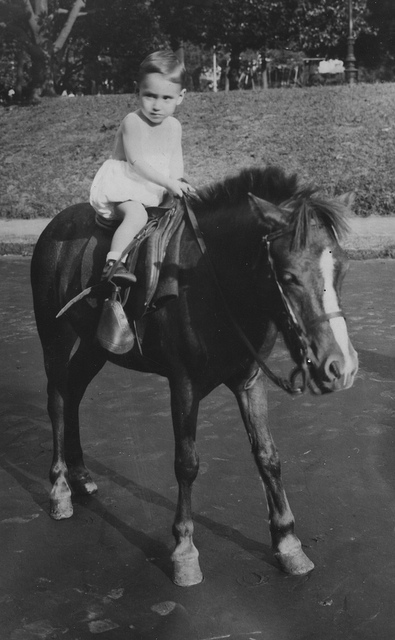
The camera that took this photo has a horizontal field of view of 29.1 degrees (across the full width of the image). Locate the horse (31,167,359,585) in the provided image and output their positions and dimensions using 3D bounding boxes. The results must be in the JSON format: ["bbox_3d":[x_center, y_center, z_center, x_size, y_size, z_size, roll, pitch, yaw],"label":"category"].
[{"bbox_3d":[-0.080,0.195,3.180,0.564,1.620,1.820,-14,17,-43],"label":"horse"}]

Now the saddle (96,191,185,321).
[{"bbox_3d":[-0.186,-0.270,3.117,0.401,0.500,0.175,31,8,39],"label":"saddle"}]
